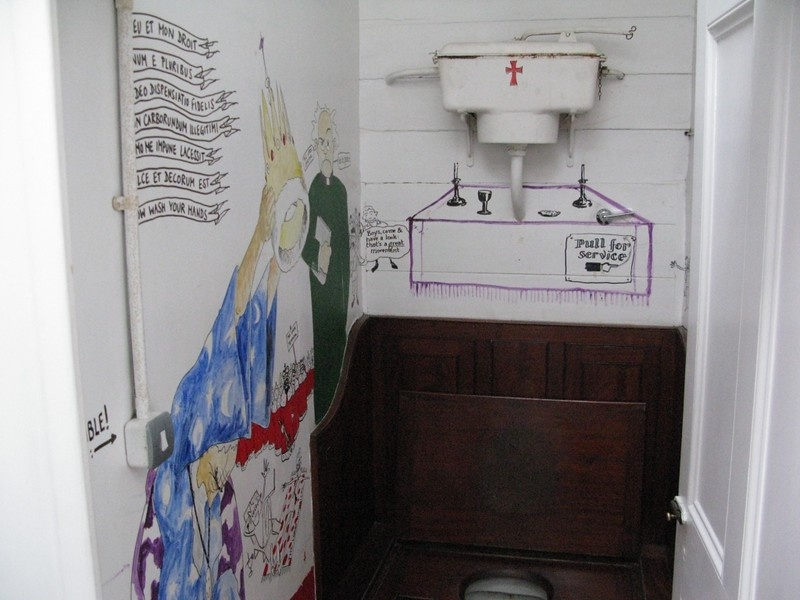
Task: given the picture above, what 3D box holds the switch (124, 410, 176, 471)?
[{"bbox_3d":[-0.495,0.281,1.413,0.050,0.117,0.097,1,8,14],"label":"switch"}]
